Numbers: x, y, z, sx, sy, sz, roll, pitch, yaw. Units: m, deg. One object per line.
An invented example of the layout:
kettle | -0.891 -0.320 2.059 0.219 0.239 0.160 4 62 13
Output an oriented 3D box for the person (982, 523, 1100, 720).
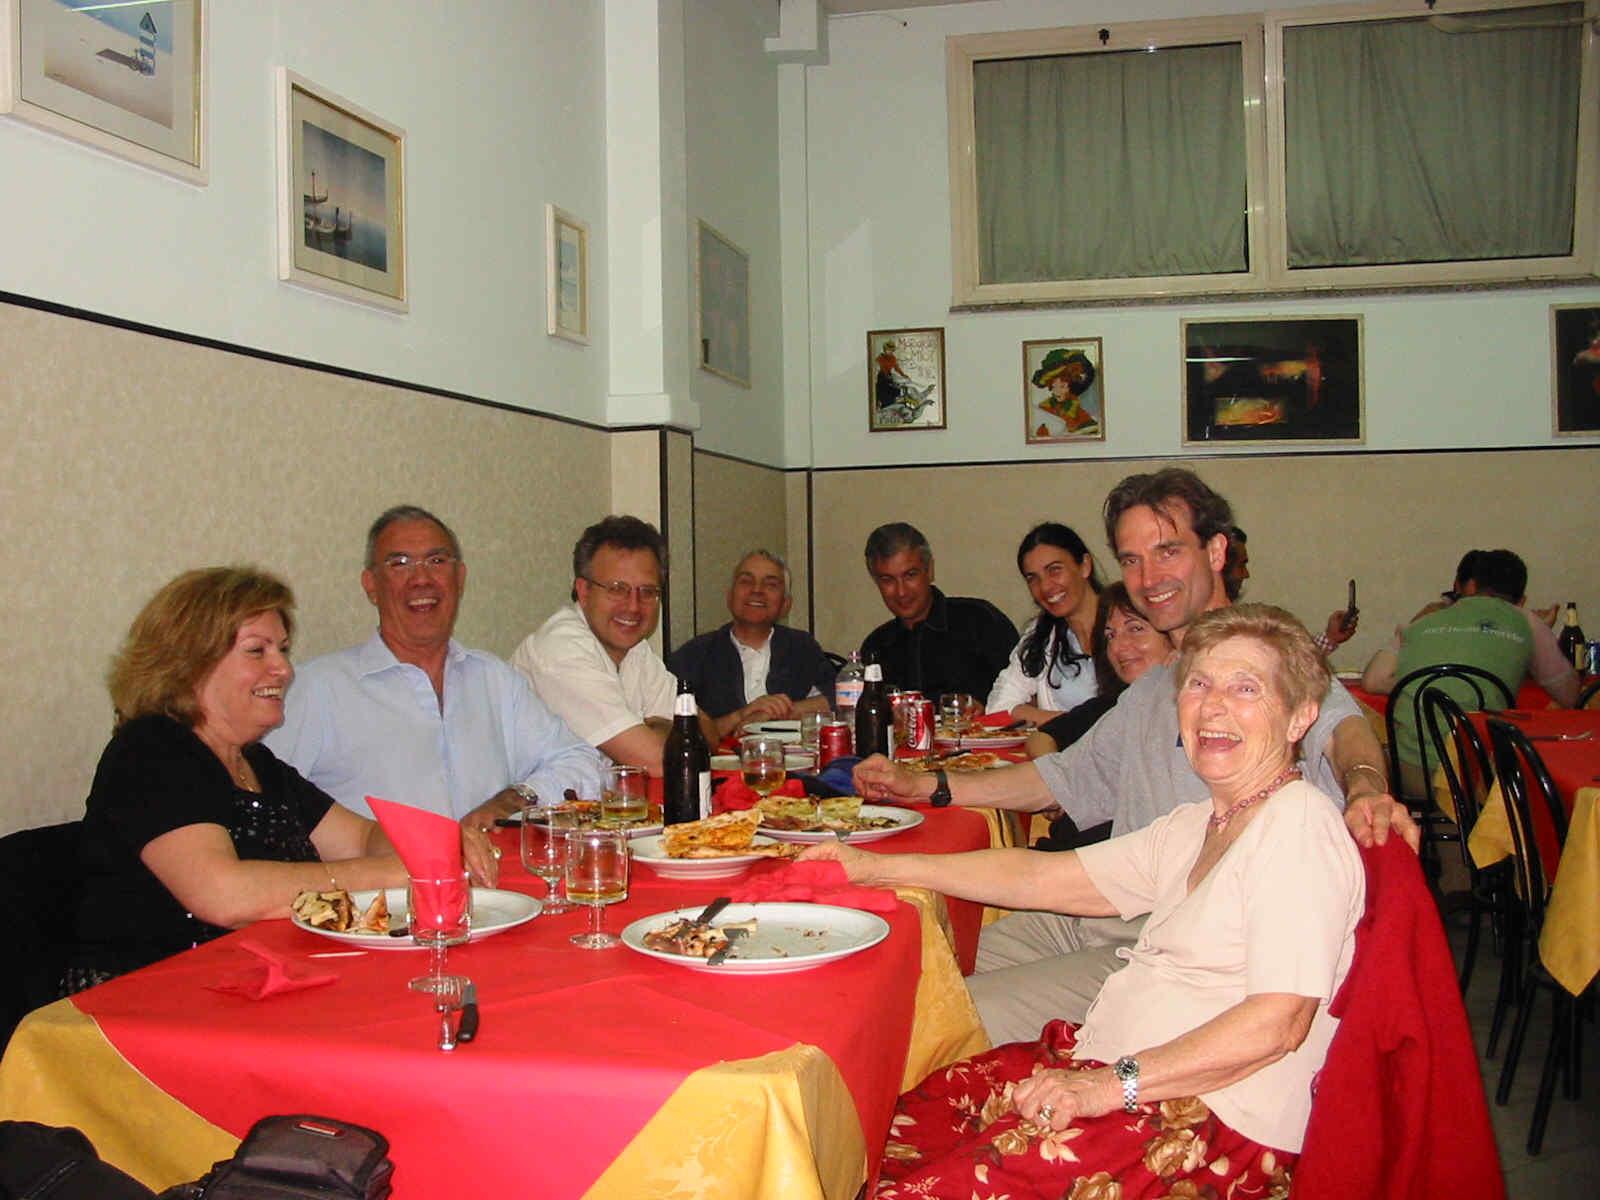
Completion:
person | 0.923 0.133 4.631 0.522 0.757 0.460 -6 3 -2

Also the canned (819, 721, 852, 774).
canned | 0.089 0.371 3.269 0.092 0.160 0.093 1 -6 -2

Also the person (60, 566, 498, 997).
person | -0.851 0.304 2.528 0.770 0.896 0.656 -3 1 -4

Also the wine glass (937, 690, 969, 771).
wine glass | 0.450 0.390 3.691 0.113 0.231 0.122 1 -8 -1

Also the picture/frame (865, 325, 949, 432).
picture/frame | 0.684 -1.377 7.768 0.603 0.806 0.054 0 0 9

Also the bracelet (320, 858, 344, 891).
bracelet | -0.799 0.474 2.148 0.036 0.051 0.016 9 -42 -48

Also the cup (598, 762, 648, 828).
cup | -0.331 0.388 2.491 0.111 0.137 0.117 1 -7 0

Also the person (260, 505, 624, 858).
person | -0.871 0.258 3.233 0.616 1.025 1.104 -4 -3 40

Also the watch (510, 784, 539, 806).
watch | -0.604 0.423 2.760 0.043 0.048 0.045 2 1 12

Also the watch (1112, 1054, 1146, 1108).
watch | 0.471 0.689 1.797 0.038 0.063 0.063 0 -15 1

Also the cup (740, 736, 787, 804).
cup | -0.088 0.372 2.871 0.096 0.173 0.105 -1 -12 0

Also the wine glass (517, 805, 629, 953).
wine glass | -0.380 0.475 2.136 0.173 0.300 0.180 -3 -4 15
